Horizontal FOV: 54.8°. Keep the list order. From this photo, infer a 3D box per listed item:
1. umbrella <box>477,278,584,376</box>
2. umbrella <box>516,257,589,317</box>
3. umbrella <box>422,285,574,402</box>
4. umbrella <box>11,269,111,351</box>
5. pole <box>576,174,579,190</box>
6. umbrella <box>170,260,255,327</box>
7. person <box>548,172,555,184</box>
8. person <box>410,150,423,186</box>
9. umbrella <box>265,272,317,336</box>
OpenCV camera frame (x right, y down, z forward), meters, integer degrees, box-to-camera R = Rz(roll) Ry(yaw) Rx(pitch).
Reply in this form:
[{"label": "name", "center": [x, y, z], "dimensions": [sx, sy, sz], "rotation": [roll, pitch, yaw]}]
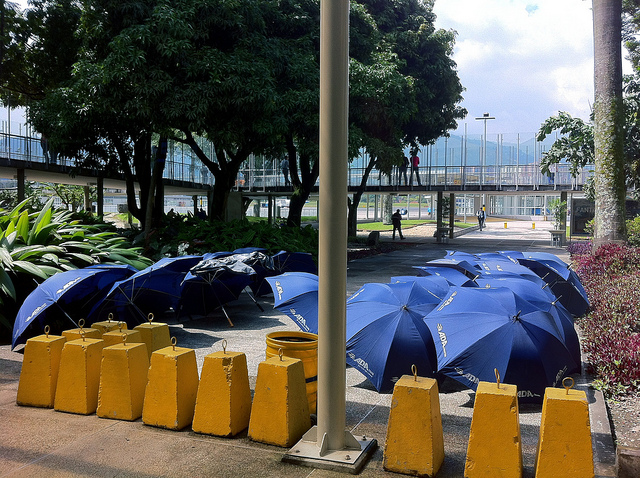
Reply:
[{"label": "umbrella", "center": [3.192, 1.527, 9.583], "dimensions": [1.416, 0.624, 1.488], "rotation": [11, 39, -44]}, {"label": "umbrella", "center": [4.601, 0.911, 12.130], "dimensions": [0.523, 1.079, 1.026], "rotation": [-44, 18, -12]}, {"label": "umbrella", "center": [2.329, 1.422, 8.160], "dimensions": [1.789, 1.143, 0.974], "rotation": [-2, 12, -7]}, {"label": "umbrella", "center": [-4.163, 1.111, 9.989], "dimensions": [1.388, 1.406, 2.320], "rotation": [-6, 14, -21]}, {"label": "pole", "center": [13.461, -2.912, 32.213], "dimensions": [0.098, 0.656, 0.546], "rotation": [4, 13, 21]}, {"label": "umbrella", "center": [-2.132, 0.852, 11.629], "dimensions": [1.347, 1.344, 1.011], "rotation": [-22, 60, -20]}, {"label": "person", "center": [12.581, -3.279, 33.414], "dimensions": [0.331, 0.534, 0.878], "rotation": [4, 14, 21]}, {"label": "person", "center": [5.360, -3.882, 35.139], "dimensions": [0.881, 1.781, 0.704], "rotation": [-7, 13, -28]}, {"label": "umbrella", "center": [-0.408, 0.992, 9.058], "dimensions": [0.701, 0.477, 0.757], "rotation": [13, 38, -34]}]
